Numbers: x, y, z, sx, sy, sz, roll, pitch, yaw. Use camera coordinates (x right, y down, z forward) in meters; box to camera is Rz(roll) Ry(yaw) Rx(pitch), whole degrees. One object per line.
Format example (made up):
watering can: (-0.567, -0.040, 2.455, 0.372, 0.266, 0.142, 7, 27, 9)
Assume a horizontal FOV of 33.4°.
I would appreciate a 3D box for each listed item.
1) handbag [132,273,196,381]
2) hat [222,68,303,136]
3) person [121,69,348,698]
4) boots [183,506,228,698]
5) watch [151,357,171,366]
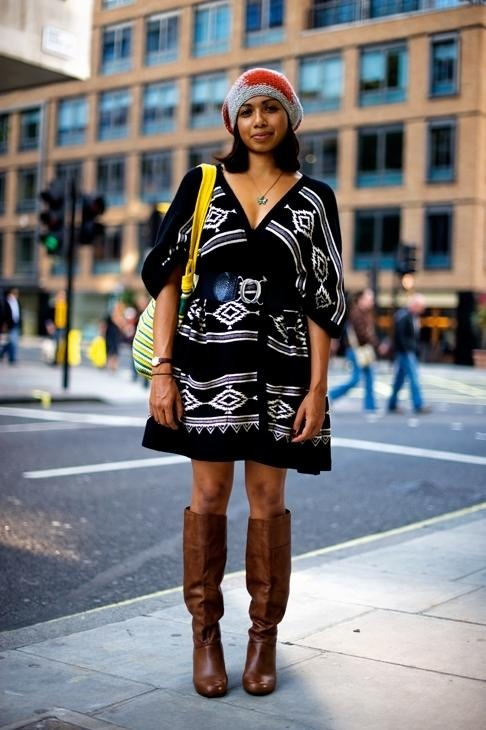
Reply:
handbag: (-0.263, -0.112, 2.348, 0.099, 0.296, 0.182, 9, 7, 11)
hat: (0.051, -0.797, 2.434, 0.212, 0.157, 0.223, -3, -6, 12)
person: (0.008, -0.012, 2.309, 0.631, 1.778, 0.343, 1, -1, -7)
boots: (-0.107, 0.644, 2.252, 0.127, 0.462, 0.283, 1, -1, -4)
watch: (-0.230, -0.013, 2.248, 0.043, 0.022, 0.041, -1, -11, 14)
